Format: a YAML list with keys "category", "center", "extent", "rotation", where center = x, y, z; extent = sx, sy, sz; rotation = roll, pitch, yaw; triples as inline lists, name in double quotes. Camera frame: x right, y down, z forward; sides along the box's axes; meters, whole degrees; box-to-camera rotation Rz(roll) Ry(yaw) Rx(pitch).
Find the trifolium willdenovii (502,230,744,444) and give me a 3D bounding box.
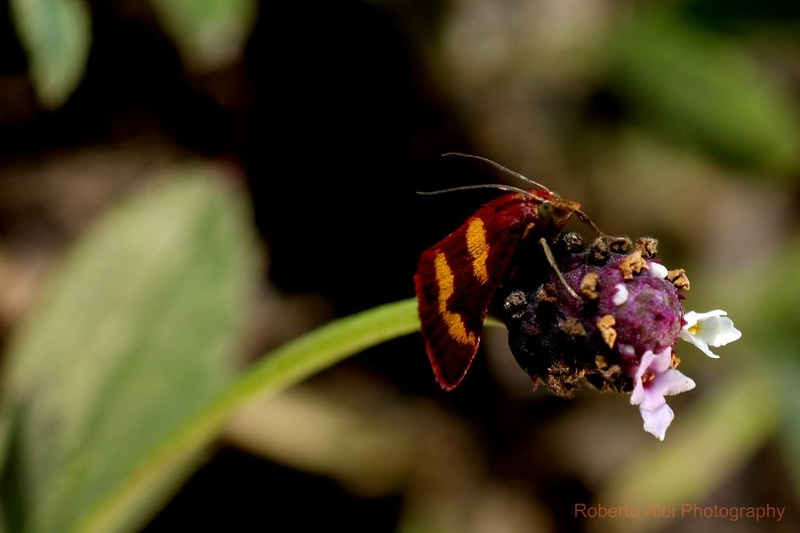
- category: "trifolium willdenovii"
  center: [0.382, 0.142, 1.550]
  extent: [0.438, 0.223, 0.307]
  rotation: [33, 71, 26]
